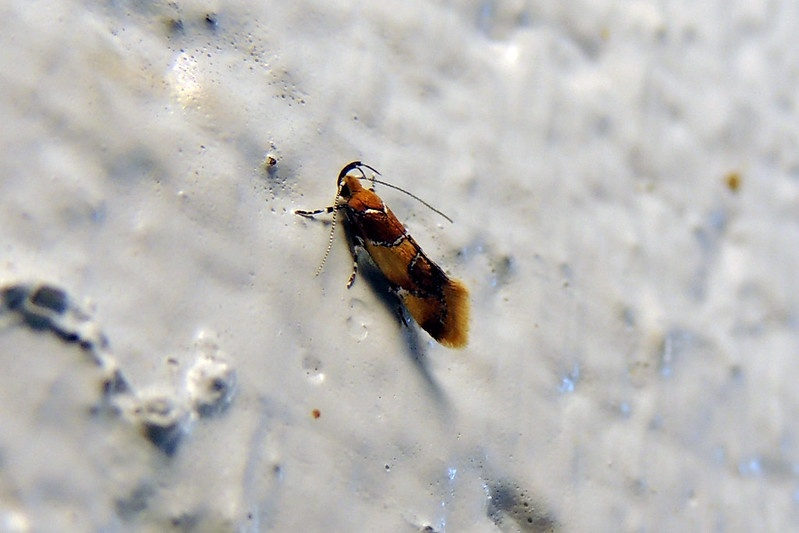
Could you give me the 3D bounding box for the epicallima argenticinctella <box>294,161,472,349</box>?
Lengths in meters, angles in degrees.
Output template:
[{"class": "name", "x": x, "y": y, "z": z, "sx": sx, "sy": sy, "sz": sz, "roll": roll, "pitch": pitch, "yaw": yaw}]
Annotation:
[{"class": "epicallima argenticinctella", "x": -0.081, "y": -0.004, "z": 7.948, "sx": 0.373, "sy": 1.038, "sz": 1.600, "roll": -51, "pitch": 62, "yaw": 26}]
